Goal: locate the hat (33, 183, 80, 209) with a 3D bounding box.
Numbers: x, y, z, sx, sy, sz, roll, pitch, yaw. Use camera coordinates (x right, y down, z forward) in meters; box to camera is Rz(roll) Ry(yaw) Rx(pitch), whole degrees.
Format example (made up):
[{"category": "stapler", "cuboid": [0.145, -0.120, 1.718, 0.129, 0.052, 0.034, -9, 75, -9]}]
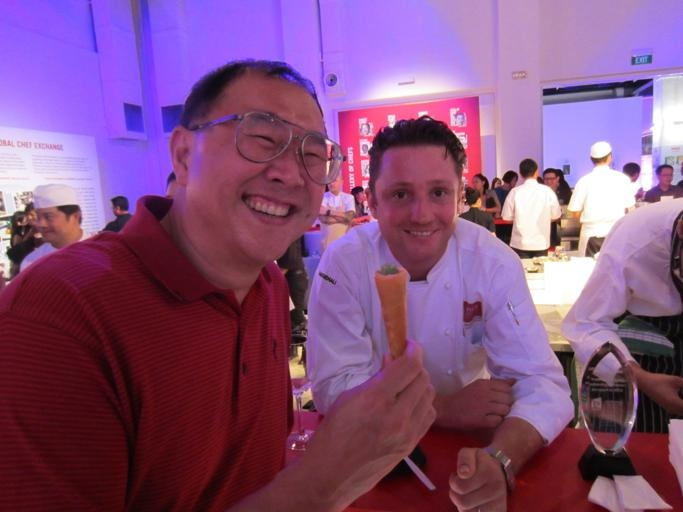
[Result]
[{"category": "hat", "cuboid": [-2.511, -0.594, 4.540, 0.277, 0.168, 0.292, 4, 12, 28]}]
